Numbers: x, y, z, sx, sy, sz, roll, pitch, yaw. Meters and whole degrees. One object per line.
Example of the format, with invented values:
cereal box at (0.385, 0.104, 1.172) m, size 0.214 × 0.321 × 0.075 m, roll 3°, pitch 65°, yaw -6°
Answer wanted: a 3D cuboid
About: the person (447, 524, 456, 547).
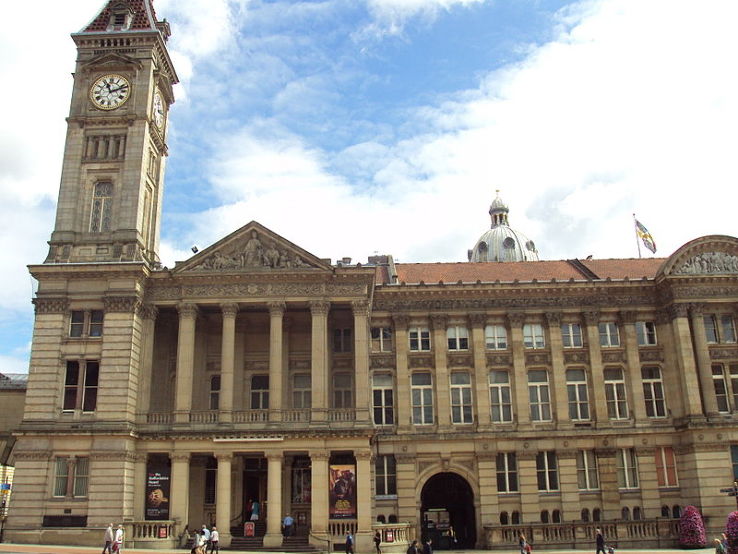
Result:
person at (7.241, 22.284, 61.941) m, size 0.587 × 1.922 × 1.238 m, roll -8°, pitch -24°, yaw 15°
